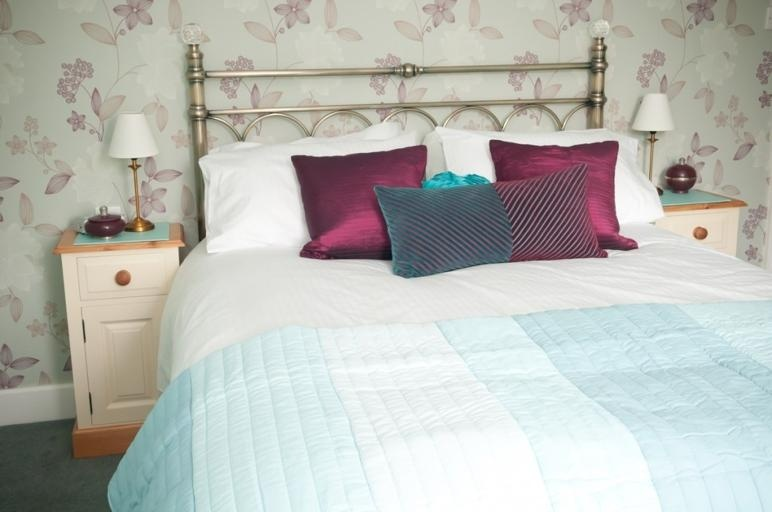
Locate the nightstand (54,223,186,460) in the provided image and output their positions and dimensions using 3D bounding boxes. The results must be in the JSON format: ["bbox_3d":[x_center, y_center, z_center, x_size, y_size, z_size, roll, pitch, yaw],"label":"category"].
[{"bbox_3d":[-1.211,0.415,2.711,0.570,1.020,0.236,-5,14,-17],"label":"nightstand"}]

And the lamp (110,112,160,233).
[{"bbox_3d":[-1.219,-0.411,2.799,0.217,0.566,0.276,-6,14,-20],"label":"lamp"}]
